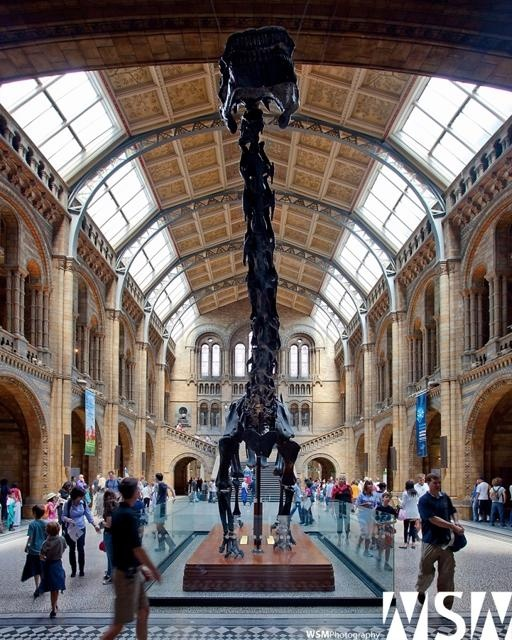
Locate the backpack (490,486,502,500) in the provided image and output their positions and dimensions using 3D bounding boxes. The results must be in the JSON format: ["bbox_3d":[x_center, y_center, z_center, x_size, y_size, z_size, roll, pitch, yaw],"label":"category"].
[{"bbox_3d":[6.814,5.063,16.572,0.364,0.409,0.304,-9,-17,37],"label":"backpack"}]

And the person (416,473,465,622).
[{"bbox_3d":[1.897,2.374,5.989,0.487,1.436,1.042,-2,-14,15],"label":"person"}]

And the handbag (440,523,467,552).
[{"bbox_3d":[2.043,2.314,5.969,0.202,0.253,0.734,-2,-13,18],"label":"handbag"}]
